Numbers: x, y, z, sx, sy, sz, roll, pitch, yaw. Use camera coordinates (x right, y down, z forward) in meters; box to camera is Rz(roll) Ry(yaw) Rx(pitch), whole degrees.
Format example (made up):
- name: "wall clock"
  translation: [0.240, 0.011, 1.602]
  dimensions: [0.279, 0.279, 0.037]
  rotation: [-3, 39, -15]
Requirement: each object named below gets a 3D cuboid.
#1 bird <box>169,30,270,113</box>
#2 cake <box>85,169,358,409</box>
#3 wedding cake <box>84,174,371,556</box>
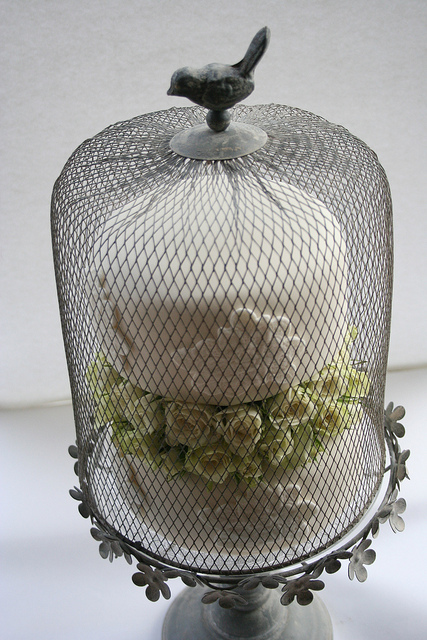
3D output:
- name: "bird"
  translation: [0.005, -0.337, 1.073]
  dimensions: [0.137, 0.120, 0.050]
  rotation: [-9, 45, -13]
- name: "cake"
  translation: [-0.053, -0.094, 1.242]
  dimensions: [0.499, 0.284, 0.456]
  rotation: [-6, 19, -14]
- name: "wedding cake"
  translation: [-0.096, 0.003, 1.316]
  dimensions: [0.592, 0.580, 0.542]
  rotation: [7, 23, 6]
